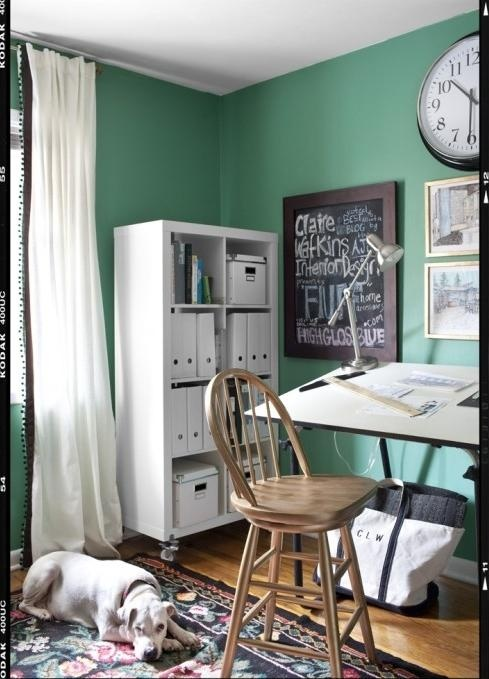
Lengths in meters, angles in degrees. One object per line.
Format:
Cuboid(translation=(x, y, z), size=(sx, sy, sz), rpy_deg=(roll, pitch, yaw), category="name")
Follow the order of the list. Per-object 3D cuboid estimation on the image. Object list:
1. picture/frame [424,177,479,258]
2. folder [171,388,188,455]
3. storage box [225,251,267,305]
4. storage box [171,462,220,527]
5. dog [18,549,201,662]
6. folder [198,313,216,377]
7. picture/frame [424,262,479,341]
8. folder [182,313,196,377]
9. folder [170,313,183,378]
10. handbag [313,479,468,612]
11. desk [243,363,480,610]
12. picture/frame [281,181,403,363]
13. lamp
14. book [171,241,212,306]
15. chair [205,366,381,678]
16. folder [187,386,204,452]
Cuboid(translation=(0.906, -0.534, 2.226), size=(0.018, 0.423, 0.353), rpy_deg=(0, 1, -31), category="picture/frame")
Cuboid(translation=(-0.313, 0.397, 2.473), size=(0.094, 0.327, 0.055), rpy_deg=(0, -2, -23), category="folder")
Cuboid(translation=(0.005, -0.323, 2.880), size=(0.223, 0.256, 0.133), rpy_deg=(-2, 3, -30), category="storage box")
Cuboid(translation=(-0.288, 0.744, 2.642), size=(0.208, 0.321, 0.289), rpy_deg=(-2, -1, 38), category="storage box")
Cuboid(translation=(-0.472, 0.829, 1.759), size=(0.548, 0.239, 0.288), rpy_deg=(6, 5, 33), category="dog")
Cuboid(translation=(-0.193, 0.032, 2.589), size=(0.084, 0.301, 0.277), rpy_deg=(-1, 2, -10), category="folder")
Cuboid(translation=(0.909, -0.169, 2.234), size=(0.022, 0.396, 0.296), rpy_deg=(3, -4, -44), category="picture/frame")
Cuboid(translation=(-0.270, 0.031, 2.523), size=(0.022, 0.314, 0.093), rpy_deg=(-2, -2, 39), category="folder")
Cuboid(translation=(-0.331, 0.026, 2.466), size=(0.081, 0.294, 0.274), rpy_deg=(-1, 1, -11), category="folder")
Cuboid(translation=(0.490, 0.703, 1.740), size=(0.206, 0.452, 0.472), rpy_deg=(32, -27, -32), category="handbag")
Cuboid(translation=(0.531, 0.473, 1.856), size=(0.416, 0.358, 0.645), rpy_deg=(4, 13, 30), category="desk")
Cuboid(translation=(0.514, -0.351, 2.608), size=(0.051, 1.313, 0.863), rpy_deg=(-1, 1, -36), category="picture/frame")
Cuboid(translation=(0.565, -0.184, 2.435), size=(0.276, 0.653, 0.591), rpy_deg=(1, -2, -29), category="lamp")
Cuboid(translation=(-0.271, -0.328, 2.593), size=(0.099, 0.332, 0.308), rpy_deg=(-2, -6, 21), category="book")
Cuboid(translation=(0.150, 0.571, 1.799), size=(0.512, 0.948, 1.345), rpy_deg=(0, -2, -1), category="chair")
Cuboid(translation=(-0.245, 0.393, 2.530), size=(0.102, 0.321, 0.039), rpy_deg=(1, -2, -34), category="folder")
